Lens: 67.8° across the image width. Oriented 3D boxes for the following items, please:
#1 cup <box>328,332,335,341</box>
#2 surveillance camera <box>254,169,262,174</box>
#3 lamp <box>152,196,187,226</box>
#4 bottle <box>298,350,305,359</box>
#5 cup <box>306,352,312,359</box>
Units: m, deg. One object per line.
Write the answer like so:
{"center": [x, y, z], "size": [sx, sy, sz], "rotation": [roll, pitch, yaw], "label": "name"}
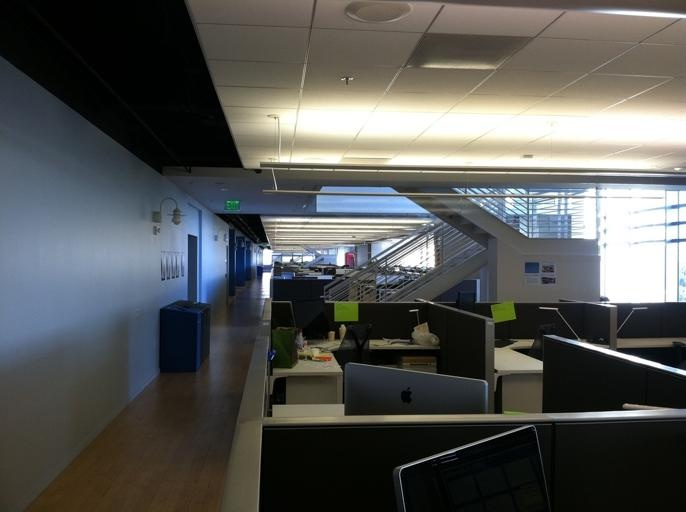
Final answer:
{"center": [-0.127, 0.922, 5.828], "size": [0.085, 0.093, 0.083], "rotation": [2, -2, 0], "label": "cup"}
{"center": [-1.304, -1.294, 7.867], "size": [0.113, 0.060, 0.049], "rotation": [1, 2, -11], "label": "surveillance camera"}
{"center": [-2.590, -0.663, 7.520], "size": [0.522, 0.491, 0.266], "rotation": [-1, 2, -13], "label": "lamp"}
{"center": [-0.413, 1.014, 5.174], "size": [0.060, 0.058, 0.108], "rotation": [2, -8, 3], "label": "bottle"}
{"center": [-0.335, 1.006, 5.135], "size": [0.037, 0.049, 0.066], "rotation": [-1, 1, 5], "label": "cup"}
